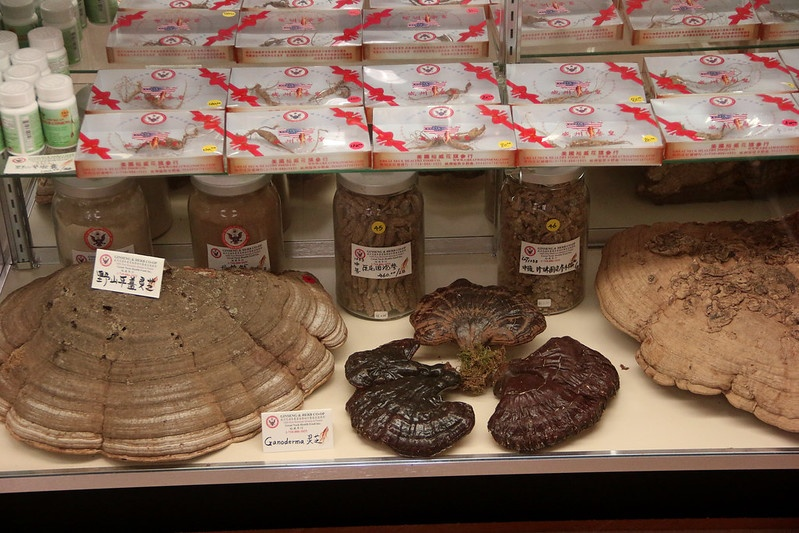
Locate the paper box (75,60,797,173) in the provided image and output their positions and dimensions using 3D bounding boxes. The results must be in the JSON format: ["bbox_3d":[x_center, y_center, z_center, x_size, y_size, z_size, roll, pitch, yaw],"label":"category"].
[{"bbox_3d":[0.236,-0.318,1.295,1.432,0.165,0.162,-3,28,1],"label":"paper box"}]

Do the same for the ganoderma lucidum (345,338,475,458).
[{"bbox_3d":[0.014,0.327,1.356,0.294,0.150,0.298,-6,28,-4],"label":"ganoderma lucidum"}]

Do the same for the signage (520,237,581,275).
[{"bbox_3d":[0.398,-0.034,1.486,0.139,0.076,0.026,-4,53,-4],"label":"signage"}]

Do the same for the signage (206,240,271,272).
[{"bbox_3d":[-0.451,-0.033,1.505,0.113,0.064,0.014,-3,39,-6],"label":"signage"}]

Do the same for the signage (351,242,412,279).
[{"bbox_3d":[-0.053,-0.012,1.430,0.179,0.107,0.096,0,41,0],"label":"signage"}]

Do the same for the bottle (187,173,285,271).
[{"bbox_3d":[-0.446,-0.120,1.488,0.178,0.248,0.155,-23,44,-27],"label":"bottle"}]

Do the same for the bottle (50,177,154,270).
[{"bbox_3d":[-0.813,-0.160,1.618,0.267,0.264,0.249,-1,30,-8],"label":"bottle"}]
